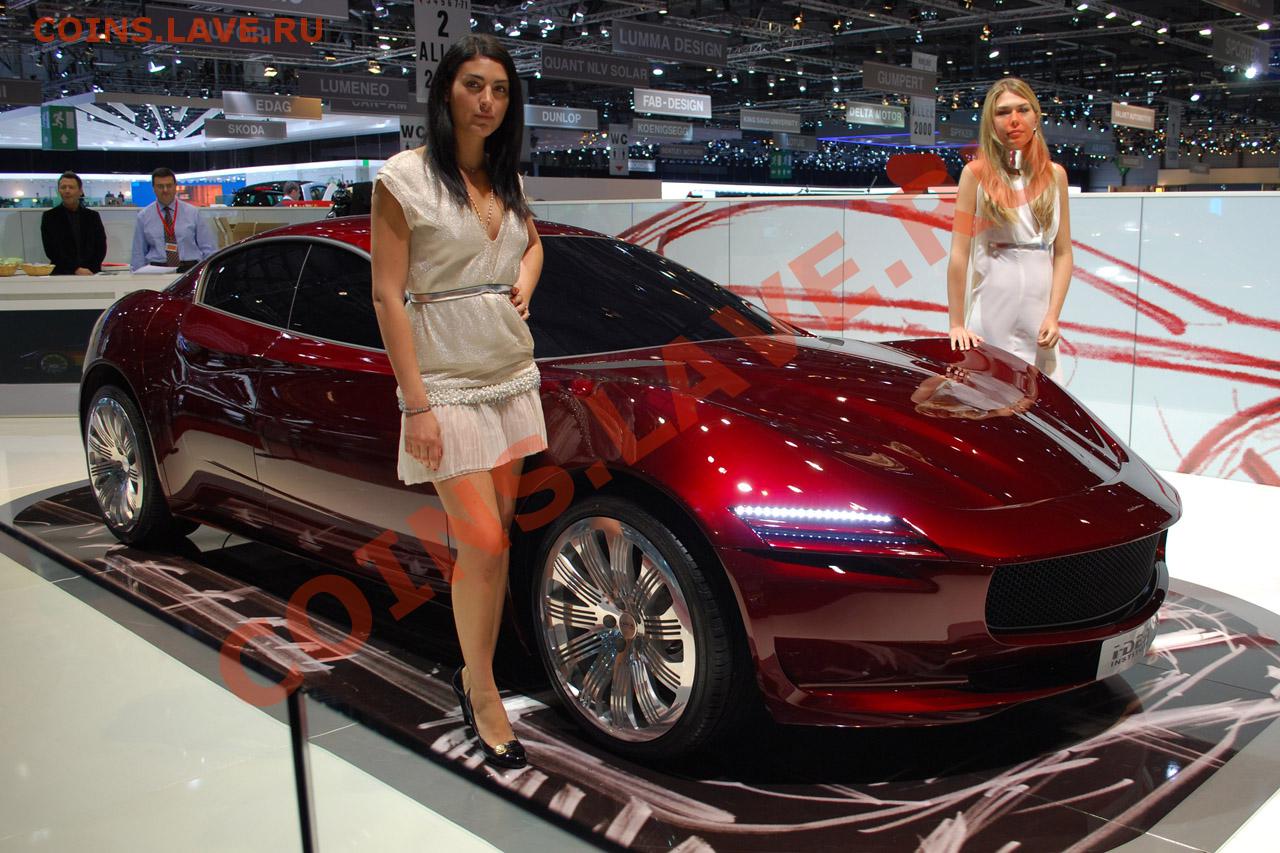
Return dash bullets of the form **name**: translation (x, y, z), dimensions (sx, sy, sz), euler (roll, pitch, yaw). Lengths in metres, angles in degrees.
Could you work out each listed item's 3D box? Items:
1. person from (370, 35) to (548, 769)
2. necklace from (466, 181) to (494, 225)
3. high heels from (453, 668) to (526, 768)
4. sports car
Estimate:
- **person**: translation (-0.542, -0.044, 2.280), dimensions (0.431, 2.209, 0.422), euler (4, 14, 13)
- **necklace**: translation (-0.478, -0.676, 2.203), dimensions (0.038, 0.121, 0.093), euler (-23, 6, 32)
- **high heels**: translation (-0.528, 0.928, 2.404), dimensions (0.148, 0.424, 0.101), euler (-22, -9, -19)
- **sports car**: translation (-0.517, 0.049, 3.235), dimensions (4.500, 1.242, 2.044), euler (9, 16, 31)
